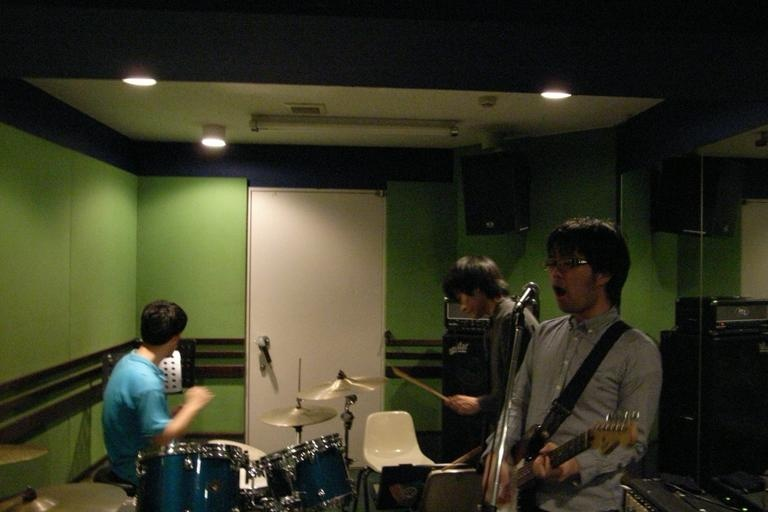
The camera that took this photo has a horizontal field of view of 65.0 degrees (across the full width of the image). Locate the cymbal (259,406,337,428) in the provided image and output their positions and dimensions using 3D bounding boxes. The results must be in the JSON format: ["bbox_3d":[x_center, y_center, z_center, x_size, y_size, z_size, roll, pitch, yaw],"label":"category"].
[{"bbox_3d":[-0.581,1.102,4.229,0.277,0.057,0.278,0,-1,11],"label":"cymbal"}]

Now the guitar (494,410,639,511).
[{"bbox_3d":[0.735,0.896,2.481,0.599,0.434,0.511,-2,-1,22],"label":"guitar"}]

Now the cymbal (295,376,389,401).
[{"bbox_3d":[-0.299,0.944,4.352,0.316,0.076,0.313,-8,3,-14],"label":"cymbal"}]
